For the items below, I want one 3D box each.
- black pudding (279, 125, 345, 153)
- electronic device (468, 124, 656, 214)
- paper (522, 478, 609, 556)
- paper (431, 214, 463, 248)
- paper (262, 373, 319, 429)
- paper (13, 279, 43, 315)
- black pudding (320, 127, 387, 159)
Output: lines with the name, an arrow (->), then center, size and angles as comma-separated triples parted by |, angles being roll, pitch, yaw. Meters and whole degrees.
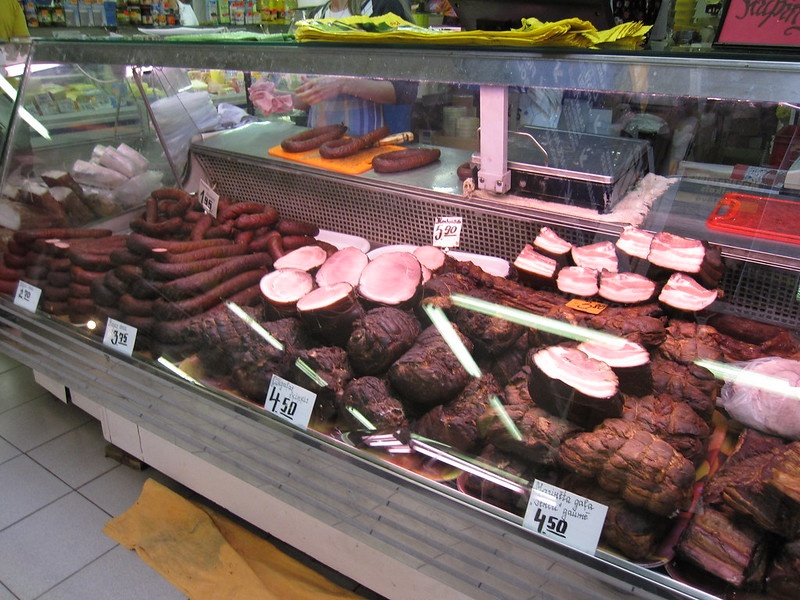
black pudding -> -0.381, -0.724, 2.430 | 0.245, 0.048, 0.124 | -20, 28, -22
electronic device -> 0.588, -0.479, 1.903 | 0.400, 0.086, 0.404 | 18, 31, 37
paper -> 0.450, 0.577, 1.455 | 0.233, 0.153, 0.027 | 17, 10, 25
paper -> 0.184, -0.267, 2.102 | 0.139, 0.132, 0.011 | 6, -6, 14
paper -> -0.366, 0.334, 1.856 | 0.196, 0.131, 0.010 | 26, 20, 26
paper -> -1.800, -0.014, 2.650 | 0.167, 0.109, 0.009 | 14, 15, 32
black pudding -> -0.206, -0.664, 2.338 | 0.169, 0.054, 0.209 | -17, 11, 34
